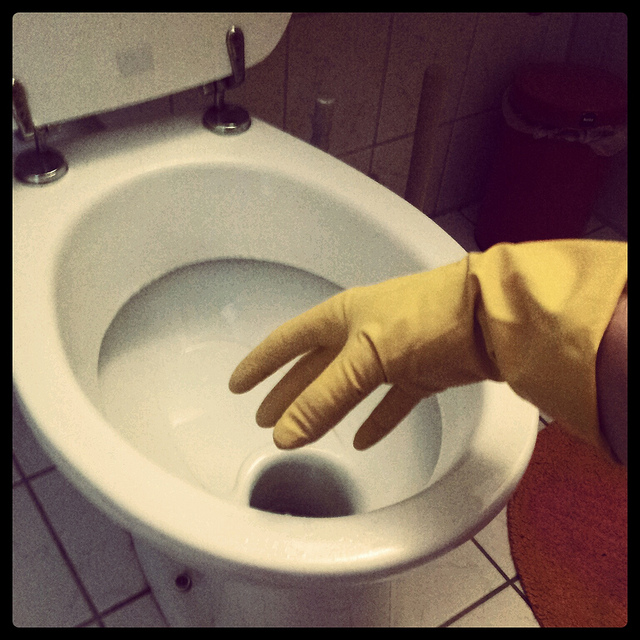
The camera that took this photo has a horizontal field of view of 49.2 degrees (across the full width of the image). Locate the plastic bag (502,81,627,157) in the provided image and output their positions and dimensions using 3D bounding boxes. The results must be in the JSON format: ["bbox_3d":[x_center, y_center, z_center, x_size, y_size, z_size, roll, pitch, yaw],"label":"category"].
[{"bbox_3d":[0.411,-0.339,1.160,0.157,0.050,0.122,21,42,11],"label":"plastic bag"}]

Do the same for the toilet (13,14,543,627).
[{"bbox_3d":[-0.074,0.019,0.784,0.324,0.624,0.463,-28,62,-23],"label":"toilet"}]
